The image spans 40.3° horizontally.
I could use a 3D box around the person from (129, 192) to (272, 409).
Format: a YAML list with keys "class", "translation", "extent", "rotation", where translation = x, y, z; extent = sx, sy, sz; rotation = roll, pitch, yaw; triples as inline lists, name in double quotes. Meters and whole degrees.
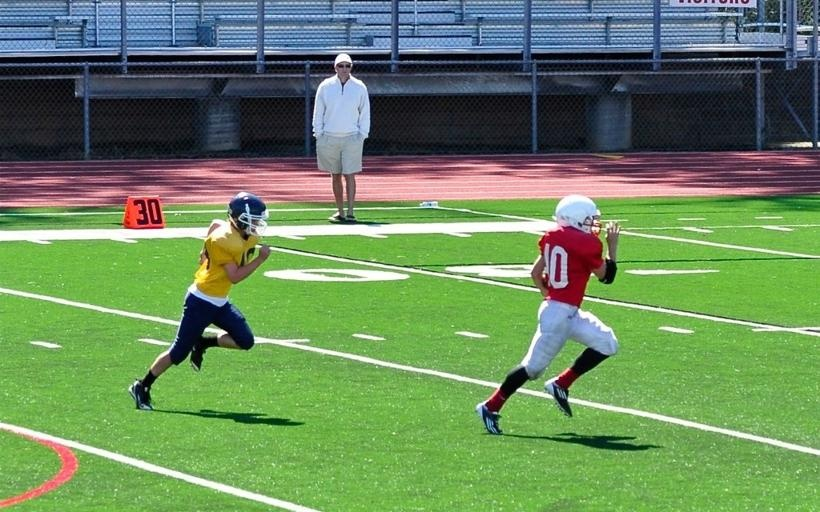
- class: "person"
  translation: [-1.600, 0.327, 8.710]
  extent: [0.985, 1.641, 0.619]
  rotation: [0, 5, -7]

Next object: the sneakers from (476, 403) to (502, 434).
- class: "sneakers"
  translation: [0.590, 1.175, 8.225]
  extent: [0.186, 0.220, 0.214]
  rotation: [1, 5, 3]

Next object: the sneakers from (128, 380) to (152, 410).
- class: "sneakers"
  translation: [-2.054, 1.054, 8.552]
  extent: [0.176, 0.218, 0.105]
  rotation: [2, 5, 11]

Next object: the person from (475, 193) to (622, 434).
- class: "person"
  translation: [1.125, 0.415, 8.346]
  extent: [0.740, 1.720, 1.172]
  rotation: [6, 7, 44]

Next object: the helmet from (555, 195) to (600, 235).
- class: "helmet"
  translation: [1.307, -0.302, 8.345]
  extent: [0.387, 0.251, 0.262]
  rotation: [5, 6, 18]

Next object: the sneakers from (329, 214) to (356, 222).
- class: "sneakers"
  translation: [-0.979, -0.546, 16.479]
  extent: [0.314, 0.089, 0.160]
  rotation: [6, 4, 21]

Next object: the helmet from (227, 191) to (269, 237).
- class: "helmet"
  translation: [-1.260, -0.337, 8.626]
  extent: [0.368, 0.260, 0.257]
  rotation: [12, 14, 0]

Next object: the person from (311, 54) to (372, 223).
- class: "person"
  translation: [-0.989, -1.687, 16.175]
  extent: [0.681, 2.425, 0.662]
  rotation: [3, 6, 29]
